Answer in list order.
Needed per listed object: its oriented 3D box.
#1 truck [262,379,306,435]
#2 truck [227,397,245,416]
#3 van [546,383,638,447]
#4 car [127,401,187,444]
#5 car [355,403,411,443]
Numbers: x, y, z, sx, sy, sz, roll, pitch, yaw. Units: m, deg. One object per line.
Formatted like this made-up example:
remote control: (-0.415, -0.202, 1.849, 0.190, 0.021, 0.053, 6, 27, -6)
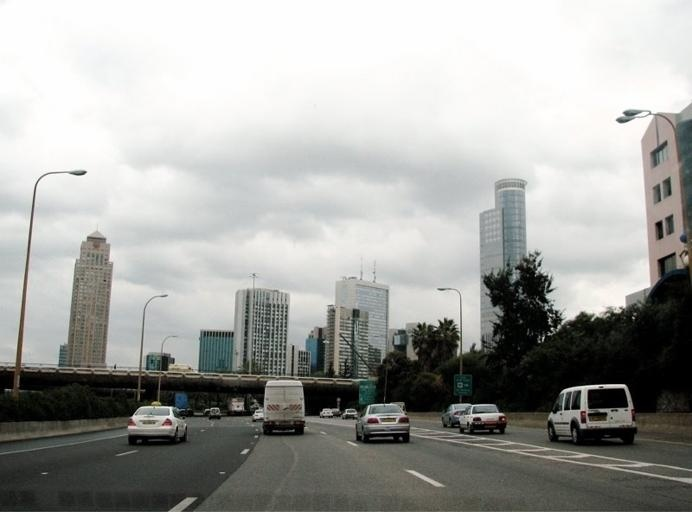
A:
truck: (-3.379, 8.122, 42.432, 2.080, 2.504, 1.441, 4, -15, -9)
truck: (-17.190, 23.652, 122.349, 1.923, 2.023, 3.437, 2, -8, -10)
van: (10.190, 6.685, 32.553, 2.842, 2.321, 4.648, 0, -16, 5)
car: (-8.558, 7.569, 35.443, 1.837, 1.660, 4.728, 1, -7, -10)
car: (1.695, 7.691, 35.968, 2.298, 2.059, 3.604, 3, -13, -5)
